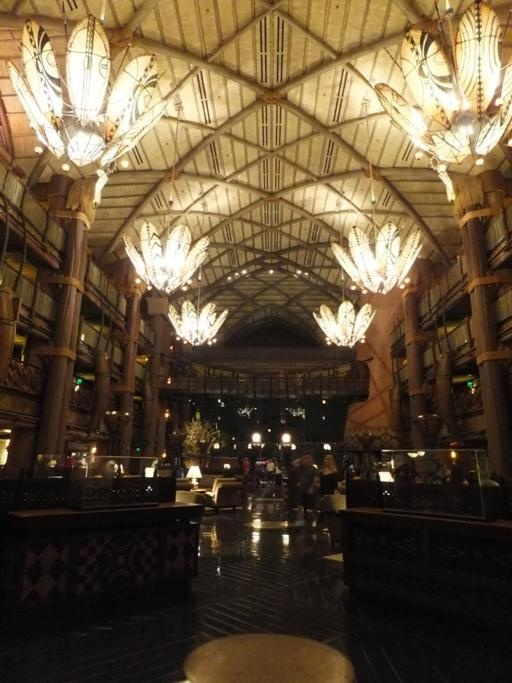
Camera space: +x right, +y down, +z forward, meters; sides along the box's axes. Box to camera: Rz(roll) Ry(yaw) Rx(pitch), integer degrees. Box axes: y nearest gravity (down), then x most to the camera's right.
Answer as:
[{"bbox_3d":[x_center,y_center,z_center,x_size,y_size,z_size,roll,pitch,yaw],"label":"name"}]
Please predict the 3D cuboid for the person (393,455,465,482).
[{"bbox_3d":[1.653,1.240,4.459,0.129,0.283,0.798,10,-20,-26],"label":"person"}]
